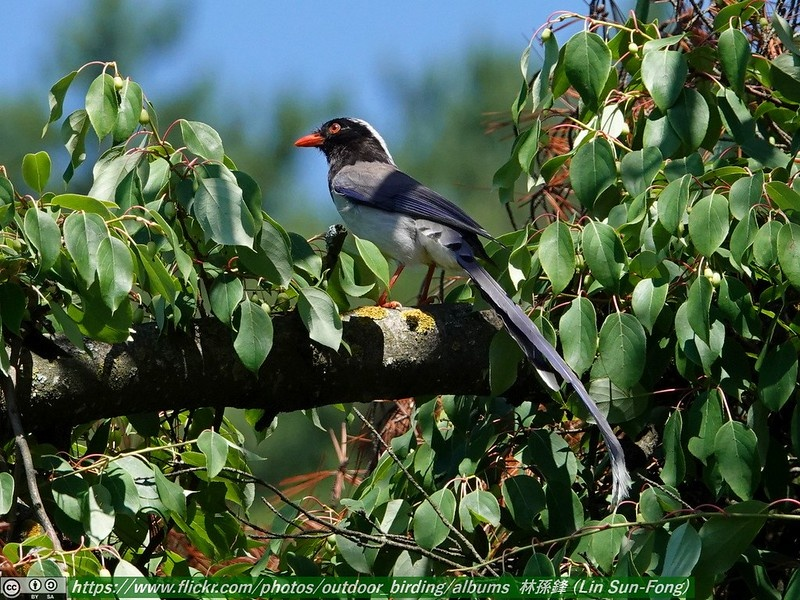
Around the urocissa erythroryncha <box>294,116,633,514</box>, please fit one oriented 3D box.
[{"bbox_3d":[0.349,-0.209,5.782,0.628,1.212,2.639,-3,20,-46],"label":"urocissa erythroryncha"}]
